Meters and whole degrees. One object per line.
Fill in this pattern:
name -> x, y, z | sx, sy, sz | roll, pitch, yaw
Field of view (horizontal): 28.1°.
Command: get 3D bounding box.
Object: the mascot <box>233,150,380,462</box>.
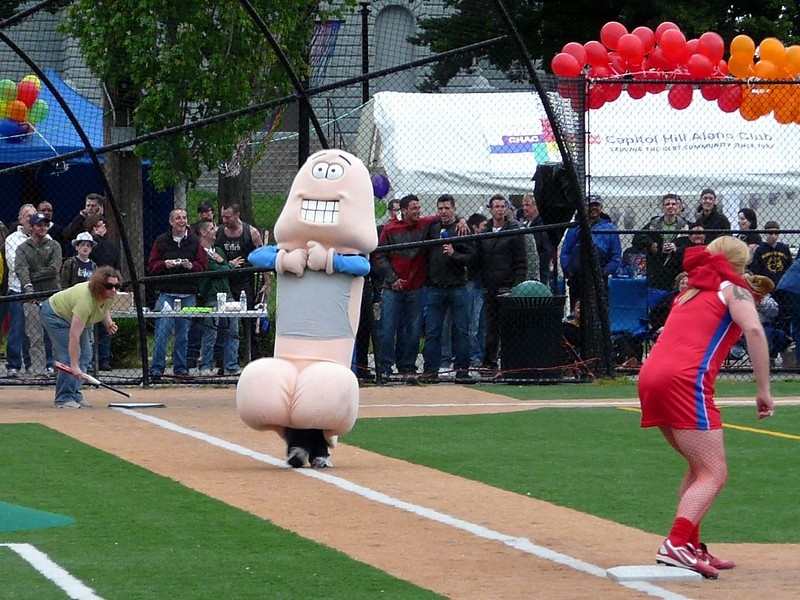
mascot -> -0.920, 0.037, 15.652 | 1.223, 3.061, 0.988 | -1, 8, -19

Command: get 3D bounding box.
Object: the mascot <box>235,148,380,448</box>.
mascot -> -0.875, -0.026, 15.501 | 1.164, 2.968, 0.929 | -2, 8, -19

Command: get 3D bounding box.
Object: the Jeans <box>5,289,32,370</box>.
Jeans -> -5.113, 0.440, 21.176 | 0.289, 1.076, 0.649 | 0, 9, -9

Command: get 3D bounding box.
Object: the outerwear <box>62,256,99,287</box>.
outerwear -> -4.129, -0.362, 20.400 | 0.451, 0.428, 0.242 | 7, -2, -15

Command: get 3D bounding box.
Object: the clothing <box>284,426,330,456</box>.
clothing -> -0.899, 1.365, 15.453 | 0.344, 0.286, 0.266 | -11, 3, -2

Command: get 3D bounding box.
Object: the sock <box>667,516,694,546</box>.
sock -> 2.290, 1.867, 12.923 | 0.174, 0.264, 0.203 | 1, -22, 40

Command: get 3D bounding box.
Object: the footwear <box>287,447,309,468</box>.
footwear -> -1.002, 1.512, 15.402 | 0.211, 0.195, 0.204 | 5, -7, -41

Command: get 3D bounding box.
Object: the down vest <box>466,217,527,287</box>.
down vest -> 1.362, -0.631, 21.284 | 0.585, 0.878, 0.423 | 4, 5, 8
